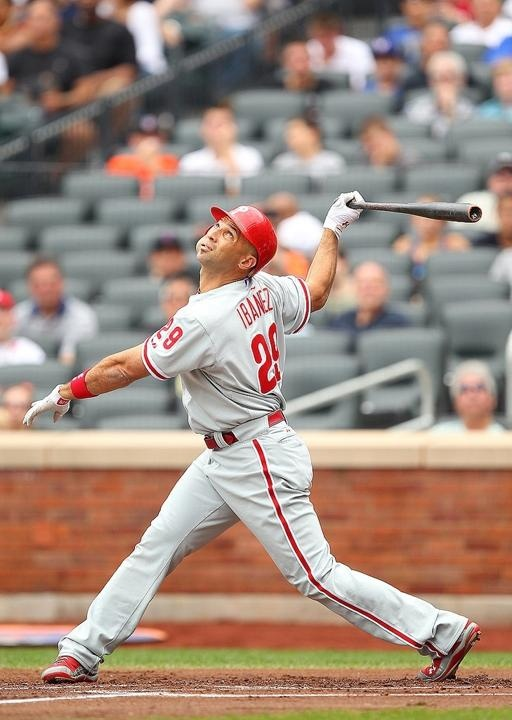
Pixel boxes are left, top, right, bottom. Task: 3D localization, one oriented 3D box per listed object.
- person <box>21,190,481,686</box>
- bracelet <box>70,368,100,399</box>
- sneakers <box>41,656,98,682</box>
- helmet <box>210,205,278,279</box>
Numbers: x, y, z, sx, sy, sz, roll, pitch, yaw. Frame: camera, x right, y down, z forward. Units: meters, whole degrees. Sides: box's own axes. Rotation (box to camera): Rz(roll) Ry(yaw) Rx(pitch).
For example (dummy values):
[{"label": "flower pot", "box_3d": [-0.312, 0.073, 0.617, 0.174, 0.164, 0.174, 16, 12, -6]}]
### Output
[{"label": "person", "box_3d": [-0.098, 0.284, 4.107, 1.250, 1.523, 0.860, -9, 19, -8]}, {"label": "bracelet", "box_3d": [-0.527, 0.069, 4.019, 0.092, 0.083, 0.067, -2, 18, 8]}, {"label": "sneakers", "box_3d": [-0.574, 0.974, 4.093, 0.215, 0.073, 0.071, 12, -18, -26]}, {"label": "helmet", "box_3d": [-0.023, -0.373, 4.090, 0.131, 0.233, 0.176, -38, 27, 3]}]
